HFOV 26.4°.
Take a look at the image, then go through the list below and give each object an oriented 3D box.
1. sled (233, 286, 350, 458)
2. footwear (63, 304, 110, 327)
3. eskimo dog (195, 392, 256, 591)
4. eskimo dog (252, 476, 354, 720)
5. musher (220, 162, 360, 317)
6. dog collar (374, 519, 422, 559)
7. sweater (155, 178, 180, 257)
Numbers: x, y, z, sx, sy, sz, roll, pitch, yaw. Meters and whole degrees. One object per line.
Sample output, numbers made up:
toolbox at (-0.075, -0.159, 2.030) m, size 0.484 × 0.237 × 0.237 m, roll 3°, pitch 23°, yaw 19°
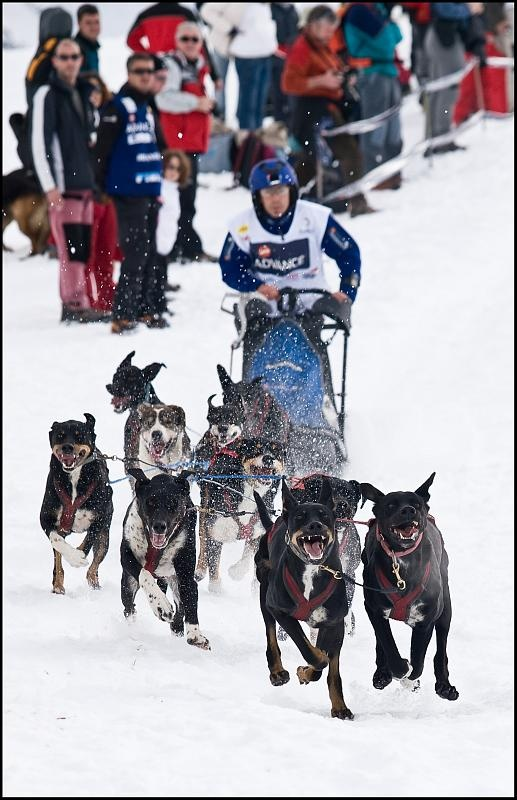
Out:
sled at (0.204, -0.209, 6.114) m, size 0.640 × 0.943 × 0.515 m, roll -3°, pitch 11°, yaw -2°
footwear at (-1.561, -0.728, 9.588) m, size 0.499 × 0.213 × 0.169 m, roll -1°, pitch 7°, yaw 19°
eskimo dog at (-0.166, 0.467, 5.641) m, size 0.286 × 1.010 × 0.329 m, roll -3°, pitch 8°, yaw -7°
eskimo dog at (0.178, 0.743, 4.264) m, size 0.281 × 0.918 × 0.594 m, roll -4°, pitch 9°, yaw -19°
musher at (0.174, -0.833, 6.703) m, size 0.807 × 1.190 × 0.688 m, roll -6°, pitch 15°, yaw 9°
dog collar at (0.538, 0.549, 4.292) m, size 0.187 × 0.130 × 0.115 m, roll 1°, pitch 9°, yaw 11°
sweater at (-0.781, -1.552, 9.483) m, size 0.176 × 0.632 × 0.244 m, roll 1°, pitch -7°, yaw -2°
